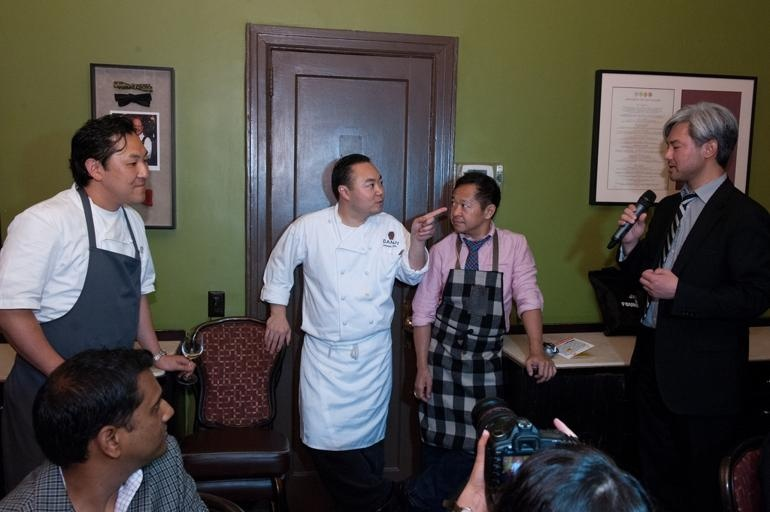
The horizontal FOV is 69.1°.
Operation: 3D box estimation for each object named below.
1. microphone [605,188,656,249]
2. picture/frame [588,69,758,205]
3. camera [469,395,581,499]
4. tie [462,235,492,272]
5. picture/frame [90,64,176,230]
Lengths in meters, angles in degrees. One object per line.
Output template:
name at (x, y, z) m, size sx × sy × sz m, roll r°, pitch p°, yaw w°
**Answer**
microphone at (1.437, -0.232, 3.302) m, size 0.100 × 0.405 × 0.106 m, roll 37°, pitch 11°, yaw 1°
picture/frame at (1.690, -0.742, 3.417) m, size 0.865 × 0.806 × 0.032 m, roll 1°, pitch 3°, yaw 0°
camera at (0.415, 0.617, 1.915) m, size 0.195 × 0.168 × 0.368 m, roll -5°, pitch 6°, yaw -6°
tie at (0.519, -0.025, 3.299) m, size 0.193 × 0.273 × 0.024 m, roll -4°, pitch 45°, yaw 0°
picture/frame at (-1.487, -0.658, 3.333) m, size 0.464 × 1.023 × 0.025 m, roll -2°, pitch -12°, yaw -17°
